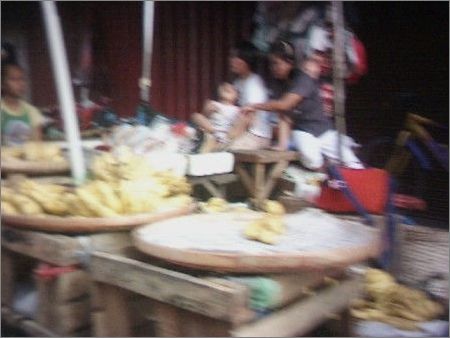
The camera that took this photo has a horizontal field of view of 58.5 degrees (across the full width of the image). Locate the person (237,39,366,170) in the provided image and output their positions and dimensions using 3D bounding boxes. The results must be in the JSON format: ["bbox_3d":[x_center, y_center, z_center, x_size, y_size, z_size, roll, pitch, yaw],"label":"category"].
[{"bbox_3d":[0.365,-0.335,2.057,0.341,0.637,0.773,-2,16,-18],"label":"person"}]
